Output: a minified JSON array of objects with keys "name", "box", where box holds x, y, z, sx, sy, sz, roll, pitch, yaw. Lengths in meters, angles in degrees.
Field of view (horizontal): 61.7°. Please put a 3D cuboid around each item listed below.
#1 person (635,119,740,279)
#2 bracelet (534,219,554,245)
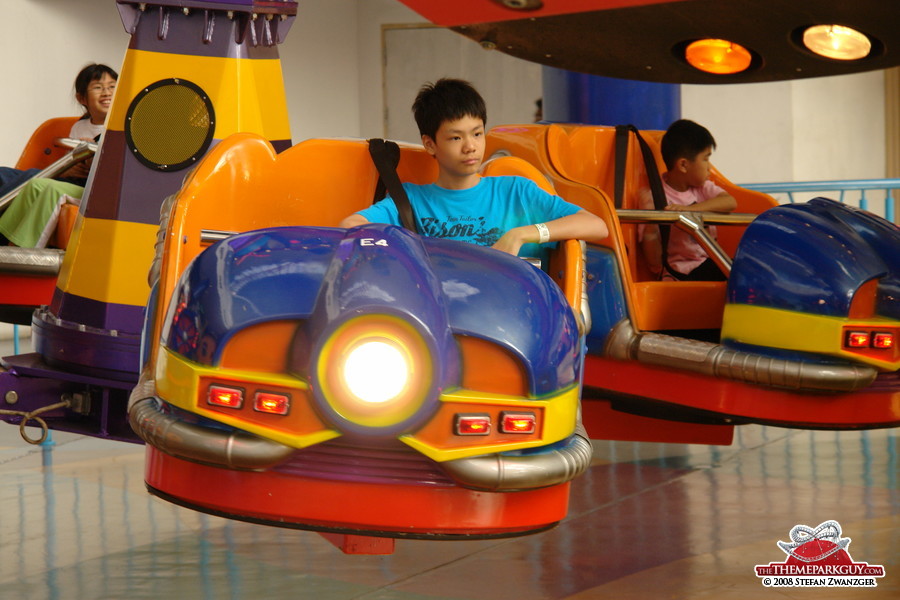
[{"name":"person","box":[1.020,-0.431,3.250,0.402,0.681,0.561,3,8,19]},{"name":"bracelet","box":[0.241,-0.174,1.970,0.050,0.045,0.036,-6,10,-43]}]
